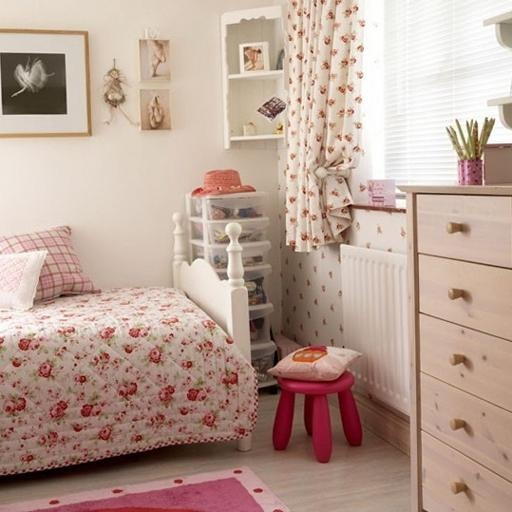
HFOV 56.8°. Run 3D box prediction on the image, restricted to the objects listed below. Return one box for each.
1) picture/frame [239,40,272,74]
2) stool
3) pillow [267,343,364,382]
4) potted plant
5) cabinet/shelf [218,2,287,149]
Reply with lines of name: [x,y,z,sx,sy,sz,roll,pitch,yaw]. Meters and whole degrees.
picture/frame: [-0.001,-1.191,2.862,0.269,0.217,0.019,3,6,16]
stool: [0.236,0.694,2.085,0.367,0.256,0.342,0,-8,-13]
pillow: [0.253,0.471,2.063,0.404,0.138,0.215,-2,0,10]
potted plant: [0.651,-0.309,1.434,0.103,0.191,0.138,-2,0,2]
cabinet/shelf: [-0.021,-1.080,2.923,0.384,0.860,0.270,-2,0,-3]
